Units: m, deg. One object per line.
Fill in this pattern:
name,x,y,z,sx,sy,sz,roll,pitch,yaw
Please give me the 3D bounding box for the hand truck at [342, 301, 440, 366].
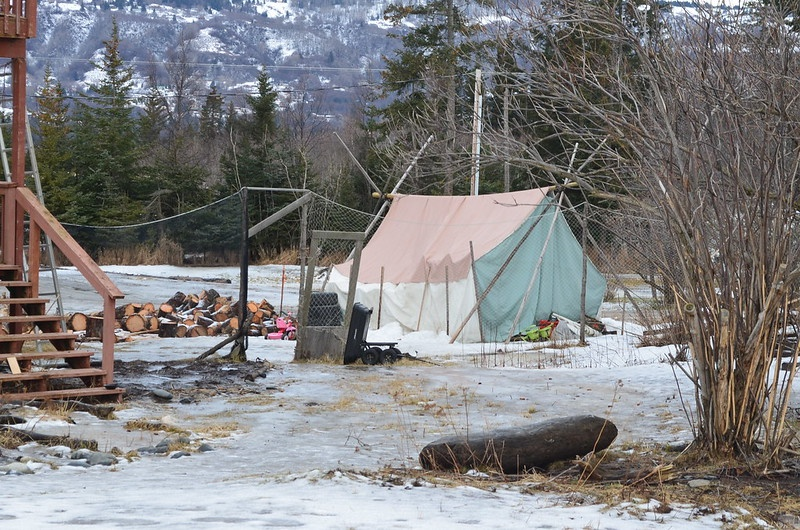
hand truck,-0.257,1.439,28.722,1.670,1.162,0.782,4,2,5
